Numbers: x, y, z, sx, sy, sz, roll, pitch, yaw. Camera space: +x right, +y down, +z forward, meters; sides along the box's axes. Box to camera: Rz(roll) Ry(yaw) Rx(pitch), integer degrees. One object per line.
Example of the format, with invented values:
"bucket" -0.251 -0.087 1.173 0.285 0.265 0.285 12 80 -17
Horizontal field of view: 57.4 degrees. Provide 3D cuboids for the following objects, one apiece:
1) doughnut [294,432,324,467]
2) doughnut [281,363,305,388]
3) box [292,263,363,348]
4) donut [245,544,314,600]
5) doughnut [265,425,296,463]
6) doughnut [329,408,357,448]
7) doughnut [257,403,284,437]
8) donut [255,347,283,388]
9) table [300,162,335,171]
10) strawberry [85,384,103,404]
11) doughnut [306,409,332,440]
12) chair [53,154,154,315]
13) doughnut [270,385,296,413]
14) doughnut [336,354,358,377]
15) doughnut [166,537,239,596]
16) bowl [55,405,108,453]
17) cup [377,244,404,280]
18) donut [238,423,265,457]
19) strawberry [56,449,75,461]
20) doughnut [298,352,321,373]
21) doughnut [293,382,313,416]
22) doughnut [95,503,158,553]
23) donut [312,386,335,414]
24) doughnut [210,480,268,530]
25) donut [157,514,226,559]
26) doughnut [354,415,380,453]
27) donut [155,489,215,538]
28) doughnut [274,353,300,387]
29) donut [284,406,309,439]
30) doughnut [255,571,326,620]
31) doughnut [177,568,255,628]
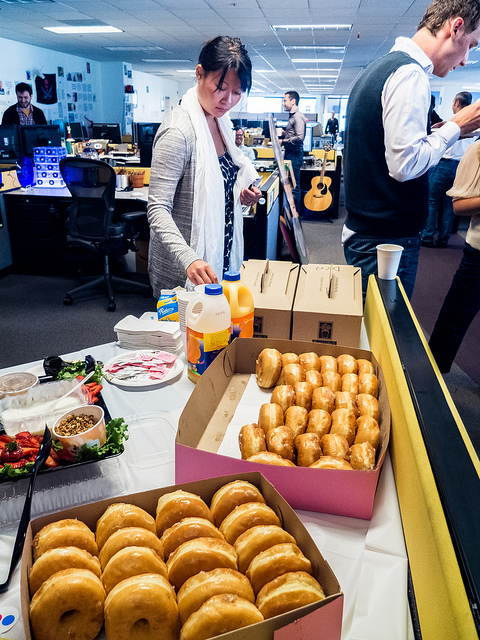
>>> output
"doughnut" 0.103 0.196 0.665 0.034 0.049 0.065 10 7 -7
"doughnut" 0.105 0.107 0.865 0.035 0.073 0.045 0 3 -19
"box" 0.225 -0.029 1.158 0.159 0.164 0.258 2 38 9
"donut" 0.037 0.237 0.438 0.045 0.030 0.047 -36 -20 11
"doughnut" 0.064 0.188 0.675 0.033 0.019 0.049 -9 38 -11
"doughnut" 0.177 0.175 0.720 0.035 0.021 0.054 -1 47 3
"doughnut" 0.055 0.165 0.744 0.032 0.068 0.044 -2 1 -2
"donut" 0.073 0.101 0.935 0.023 0.074 0.069 12 -4 -11
"table" 1.286 -2.372 6.781 0.596 0.106 0.375 -10 25 -25
"strawberry" -0.270 0.141 0.830 0.007 0.027 0.025 -16 -15 34
"doughnut" 0.131 0.172 0.733 0.035 0.039 0.034 16 -6 -15
"chair" -1.155 -0.750 3.698 0.612 1.131 0.634 3 15 2
"doughnut" 0.079 0.140 0.799 0.035 0.041 0.038 7 8 25
"doughnut" 0.223 0.092 0.906 0.033 0.019 0.037 -5 35 -2
"doughnut" -0.041 0.230 0.457 0.066 0.039 0.076 -5 16 -25
"bowl" -0.249 0.155 0.670 0.053 0.043 0.065 -2 16 0
"cup" 0.460 -0.184 1.397 0.087 0.107 0.098 -3 25 -8
"donut" 0.020 0.188 0.688 0.027 0.019 0.043 -4 42 0
"strawberry" -0.260 0.202 0.654 0.025 0.014 0.009 40 -7 -15
"doughnut" 0.147 0.089 0.918 0.032 0.041 0.038 -6 -11 14
"doughnut" 0.119 0.142 0.796 0.035 0.076 0.044 -4 -9 12
"doughnut" -0.124 0.213 0.489 0.065 0.036 0.057 -1 16 -22
"donut" 0.149 0.140 0.781 0.037 0.036 0.038 34 35 -16
"doughnut" 0.002 0.220 0.524 0.048 0.032 0.050 -18 -25 25
"donut" -0.056 0.231 0.472 0.040 0.048 0.017 6 8 -4
"doughnut" 0.206 0.184 0.709 0.015 0.046 0.044 36 -40 -22
"donut" -0.067 0.229 0.510 0.066 0.031 0.069 6 12 18
"doughnut" 0.098 0.095 0.927 0.051 0.111 0.064 7 1 5
"donut" 0.095 0.173 0.735 0.033 0.068 0.042 1 -24 12
"doughnut" 0.049 0.258 0.413 0.067 0.024 0.039 -7 24 -20
"doughnut" -0.027 0.252 0.404 0.044 0.054 0.018 6 10 -4
